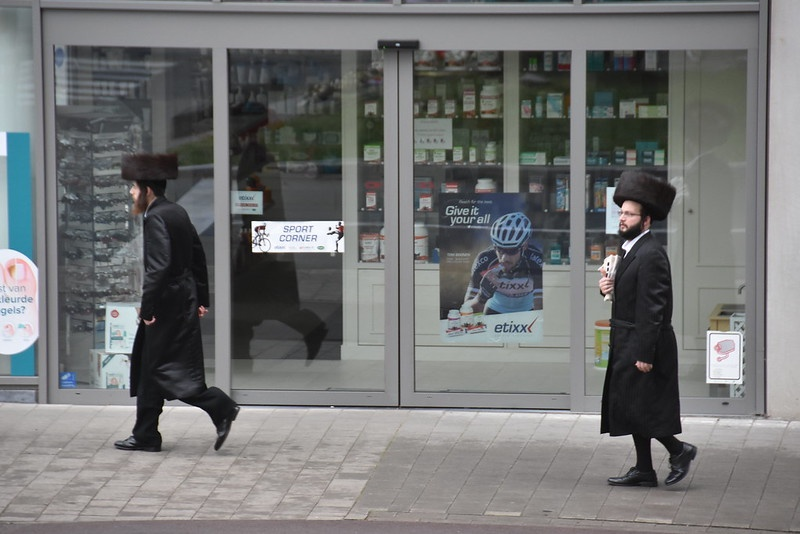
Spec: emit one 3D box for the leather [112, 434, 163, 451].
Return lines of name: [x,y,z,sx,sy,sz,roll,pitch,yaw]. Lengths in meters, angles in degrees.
leather: [-2.394,1.622,12.944,0.410,0.154,0.158,4,1,8]

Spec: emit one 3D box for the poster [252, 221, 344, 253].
poster: [-1.019,-0.301,14.065,1.017,0.326,0.008,1,-4,20]

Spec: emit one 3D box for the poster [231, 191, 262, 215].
poster: [-1.514,-0.651,14.035,0.277,0.164,0.034,0,7,4]

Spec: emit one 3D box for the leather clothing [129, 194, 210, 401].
leather clothing: [-2.111,0.282,12.742,0.785,1.812,0.374,-6,7,-10]

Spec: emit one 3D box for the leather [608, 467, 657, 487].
leather: [2.001,1.811,12.202,0.422,0.151,0.162,2,-3,5]

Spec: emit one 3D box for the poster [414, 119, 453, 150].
poster: [0.327,-1.321,13.915,0.352,0.243,0.105,0,2,0]

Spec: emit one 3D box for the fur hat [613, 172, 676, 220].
fur hat: [2.053,-0.643,12.031,0.504,0.277,0.398,20,0,-34]

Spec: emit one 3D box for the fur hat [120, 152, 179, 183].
fur hat: [-2.250,-0.902,12.746,0.432,0.175,0.291,-1,0,-12]
